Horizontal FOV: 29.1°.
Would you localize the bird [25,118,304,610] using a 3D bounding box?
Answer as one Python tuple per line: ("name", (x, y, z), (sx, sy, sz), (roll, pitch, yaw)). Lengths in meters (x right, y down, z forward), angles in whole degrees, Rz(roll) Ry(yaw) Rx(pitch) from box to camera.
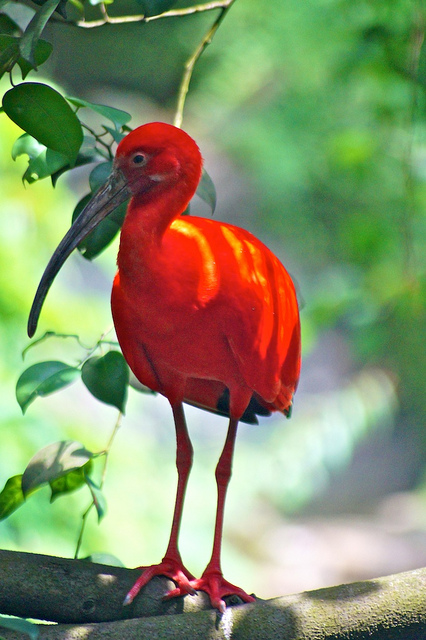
("bird", (-0.081, 0.128, 2.111), (0.432, 1.144, 0.659), (-9, -22, 44))
